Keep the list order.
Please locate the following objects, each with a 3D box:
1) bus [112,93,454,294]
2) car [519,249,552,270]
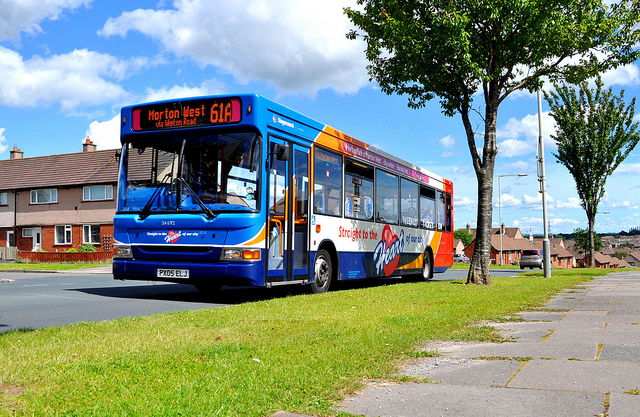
[{"bbox_3d":[0.676,0.511,19.736,4.913,4.520,16.523,-2,-8,30],"label":"bus"},{"bbox_3d":[23.179,5.498,57.683,2.238,2.002,5.307,-1,-3,21],"label":"car"}]
